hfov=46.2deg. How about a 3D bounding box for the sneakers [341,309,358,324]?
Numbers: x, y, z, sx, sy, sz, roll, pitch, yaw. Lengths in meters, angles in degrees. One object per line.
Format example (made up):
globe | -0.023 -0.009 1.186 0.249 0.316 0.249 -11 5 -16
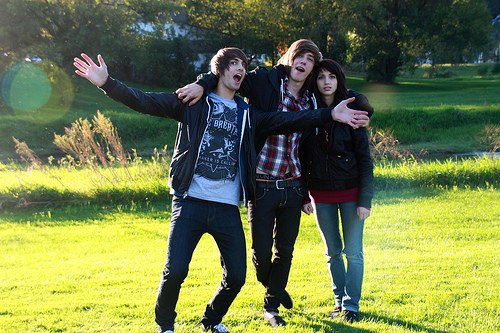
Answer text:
sneakers | 2.347 3.540 13.832 0.332 0.252 0.257 1 -6 1

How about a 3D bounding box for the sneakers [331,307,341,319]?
sneakers | 2.019 3.481 14.031 0.289 0.165 0.121 -40 4 7

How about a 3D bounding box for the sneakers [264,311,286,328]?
sneakers | 0.572 3.589 13.865 0.504 0.204 0.247 26 19 27
